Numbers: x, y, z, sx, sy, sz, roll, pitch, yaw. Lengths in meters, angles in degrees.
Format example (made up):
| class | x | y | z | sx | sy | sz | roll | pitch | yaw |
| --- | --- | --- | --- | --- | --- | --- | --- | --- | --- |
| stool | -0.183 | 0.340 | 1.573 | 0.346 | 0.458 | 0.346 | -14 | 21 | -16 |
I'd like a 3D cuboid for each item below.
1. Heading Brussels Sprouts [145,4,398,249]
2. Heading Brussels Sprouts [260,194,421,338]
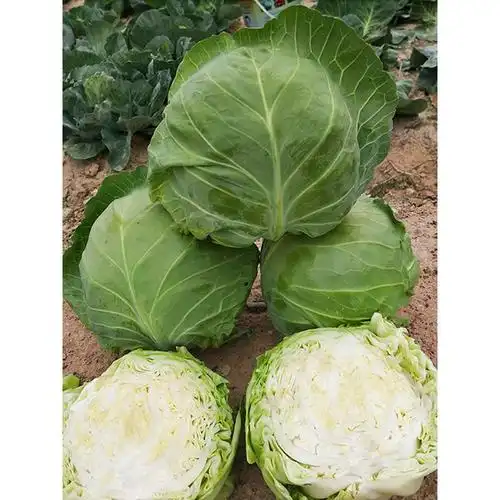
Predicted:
| class | x | y | z | sx | sy | sz | roll | pitch | yaw |
| --- | --- | --- | --- | --- | --- | --- | --- | --- | --- |
| Heading Brussels Sprouts | 0.098 | -0.436 | 2.059 | 0.980 | 0.838 | 0.370 | -6 | 24 | -7 |
| Heading Brussels Sprouts | 0.347 | 0.081 | 2.478 | 0.692 | 0.469 | 0.524 | -18 | 11 | 18 |
